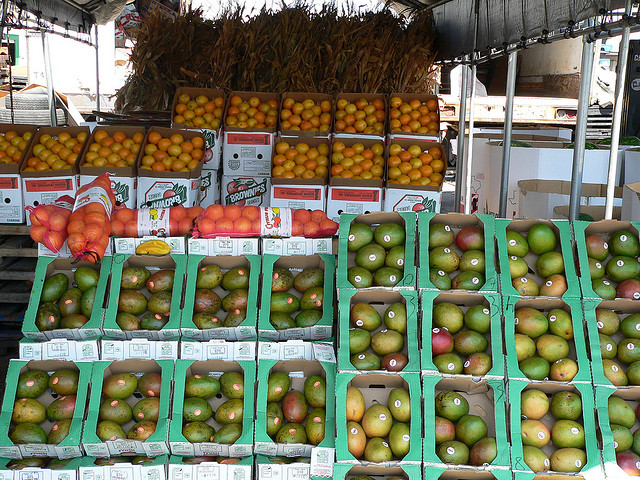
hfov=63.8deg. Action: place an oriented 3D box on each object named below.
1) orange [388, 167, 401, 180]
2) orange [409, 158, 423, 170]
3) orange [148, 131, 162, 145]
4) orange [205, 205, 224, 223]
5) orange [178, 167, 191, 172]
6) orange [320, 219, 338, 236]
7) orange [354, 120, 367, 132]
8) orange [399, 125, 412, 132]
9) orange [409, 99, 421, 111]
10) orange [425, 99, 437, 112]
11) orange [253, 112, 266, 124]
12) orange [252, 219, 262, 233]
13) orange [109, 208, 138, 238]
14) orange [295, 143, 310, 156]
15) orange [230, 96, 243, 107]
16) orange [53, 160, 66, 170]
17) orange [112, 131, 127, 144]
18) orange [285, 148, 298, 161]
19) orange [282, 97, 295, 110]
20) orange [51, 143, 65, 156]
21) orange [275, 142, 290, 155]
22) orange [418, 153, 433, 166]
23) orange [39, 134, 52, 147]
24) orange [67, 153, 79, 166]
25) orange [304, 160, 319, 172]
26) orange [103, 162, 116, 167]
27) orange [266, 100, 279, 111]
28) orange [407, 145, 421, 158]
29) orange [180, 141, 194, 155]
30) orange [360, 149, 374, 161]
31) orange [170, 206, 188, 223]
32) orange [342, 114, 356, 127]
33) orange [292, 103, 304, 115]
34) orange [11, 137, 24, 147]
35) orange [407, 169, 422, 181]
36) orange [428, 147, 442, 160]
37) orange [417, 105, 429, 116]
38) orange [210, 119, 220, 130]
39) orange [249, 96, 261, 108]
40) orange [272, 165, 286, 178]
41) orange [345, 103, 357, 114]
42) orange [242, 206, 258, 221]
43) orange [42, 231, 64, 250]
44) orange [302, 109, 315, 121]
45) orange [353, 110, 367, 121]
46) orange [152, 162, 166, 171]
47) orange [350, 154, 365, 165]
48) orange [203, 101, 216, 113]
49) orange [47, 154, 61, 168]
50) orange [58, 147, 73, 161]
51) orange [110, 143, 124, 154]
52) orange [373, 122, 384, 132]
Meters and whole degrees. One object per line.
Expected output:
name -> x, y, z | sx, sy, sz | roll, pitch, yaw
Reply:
orange -> 0.719, -0.653, 4.974 | 0.109, 0.109, 0.111 | -9, -10, -1
orange -> 0.936, -0.750, 5.058 | 0.100, 0.108, 0.103 | 1, 6, -19
orange -> -1.657, -1.016, 5.152 | 0.116, 0.120, 0.139 | -2, 34, -23
orange -> -0.689, -0.182, 3.352 | 0.105, 0.108, 0.128 | -5, 32, -23
orange -> -1.302, -0.676, 4.938 | 0.077, 0.068, 0.064 | -4, -1, -29
orange -> 0.050, -0.076, 3.413 | 0.099, 0.119, 0.092 | -26, -25, 26
orange -> 0.428, -1.230, 5.536 | 0.111, 0.120, 0.136 | -8, 27, -14
orange -> 0.921, -1.194, 5.527 | 0.079, 0.057, 0.104 | 1, 33, 1
orange -> 1.067, -1.515, 5.771 | 0.122, 0.133, 0.125 | -2, -12, 9
orange -> 1.240, -1.513, 5.832 | 0.120, 0.149, 0.118 | 0, -18, -6
orange -> -0.667, -1.355, 5.723 | 0.122, 0.118, 0.117 | 27, 17, 14
orange -> -0.410, -0.090, 3.318 | 0.069, 0.073, 0.089 | 0, 43, 3
orange -> -1.272, -0.112, 3.332 | 0.177, 0.183, 0.073 | 15, -29, -5
orange -> -0.178, -0.932, 5.296 | 0.111, 0.121, 0.114 | 8, -11, -16
orange -> -0.928, -1.558, 5.727 | 0.116, 0.116, 0.123 | -7, 32, -7
orange -> -2.494, -0.731, 4.940 | 0.088, 0.094, 0.109 | 16, 22, 24
orange -> -2.022, -1.031, 5.163 | 0.119, 0.125, 0.130 | -3, 11, 0
orange -> -0.283, -0.873, 5.163 | 0.102, 0.106, 0.107 | -8, 28, -9
orange -> -0.355, -1.515, 5.707 | 0.129, 0.126, 0.082 | -3, 10, -5
orange -> -2.588, -0.909, 5.095 | 0.107, 0.109, 0.104 | 6, 21, -8
orange -> -0.387, -0.940, 5.275 | 0.118, 0.125, 0.136 | -15, 47, 6
orange -> 1.028, -0.796, 5.055 | 0.103, 0.114, 0.112 | 5, 6, 17
orange -> -2.779, -1.013, 5.215 | 0.107, 0.113, 0.128 | 4, 15, -14
orange -> -2.394, -0.777, 4.972 | 0.086, 0.097, 0.092 | 5, -32, 17
orange -> -0.092, -0.747, 5.150 | 0.104, 0.107, 0.103 | -6, 5, -32
orange -> -1.997, -0.717, 4.876 | 0.067, 0.073, 0.084 | 7, 5, 9
orange -> -0.528, -1.547, 5.869 | 0.103, 0.110, 0.107 | 1, 23, -6
orange -> 0.951, -0.892, 5.151 | 0.111, 0.118, 0.129 | 17, -28, -20
orange -> -1.315, -0.907, 5.073 | 0.110, 0.113, 0.112 | -3, -4, -14
orange -> 0.483, -0.858, 5.218 | 0.099, 0.103, 0.097 | 26, -21, -38
orange -> -0.941, -0.168, 3.455 | 0.101, 0.101, 0.123 | 5, 38, -41
orange -> 0.316, -1.301, 5.584 | 0.119, 0.128, 0.123 | 1, 9, -5
orange -> -0.248, -1.439, 5.665 | 0.110, 0.116, 0.113 | 16, 22, 41
orange -> -3.092, -1.014, 5.265 | 0.084, 0.094, 0.103 | 11, 19, -26
orange -> 0.907, -0.628, 4.986 | 0.111, 0.118, 0.106 | 4, -2, 22
orange -> 1.149, -0.885, 5.205 | 0.114, 0.119, 0.115 | 9, 29, -9
orange -> 1.146, -1.451, 5.724 | 0.123, 0.114, 0.135 | 0, 11, 13
orange -> -1.131, -1.257, 5.558 | 0.100, 0.107, 0.123 | -2, 10, -11
orange -> -0.727, -1.550, 5.815 | 0.110, 0.117, 0.137 | 13, 13, -5
orange -> -0.417, -0.672, 5.004 | 0.101, 0.100, 0.106 | 0, 31, -3
orange -> 0.335, -1.450, 5.666 | 0.101, 0.105, 0.100 | -29, 33, -15
orange -> -0.458, -0.181, 3.386 | 0.087, 0.091, 0.088 | 2, 16, -16
orange -> -1.603, 0.004, 3.099 | 0.075, 0.105, 0.077 | 1, -16, -26
orange -> -0.138, -1.389, 5.733 | 0.097, 0.140, 0.103 | 3, -14, -20
orange -> 0.436, -1.354, 5.612 | 0.115, 0.116, 0.113 | -5, 12, -14
orange -> -1.536, -0.698, 4.893 | 0.090, 0.094, 0.089 | 22, -27, -7
orange -> 0.370, -0.810, 5.126 | 0.096, 0.103, 0.118 | 4, -23, -11
orange -> -1.240, -1.483, 5.773 | 0.118, 0.118, 0.119 | -2, 52, -36
orange -> -2.578, -0.785, 5.006 | 0.106, 0.131, 0.110 | 11, 28, -23
orange -> -2.482, -0.856, 5.082 | 0.125, 0.133, 0.155 | 2, 12, -7
orange -> -1.999, -0.903, 5.060 | 0.091, 0.093, 0.095 | 2, 19, -1
orange -> 0.633, -1.227, 5.563 | 0.097, 0.102, 0.119 | 0, 33, -5
